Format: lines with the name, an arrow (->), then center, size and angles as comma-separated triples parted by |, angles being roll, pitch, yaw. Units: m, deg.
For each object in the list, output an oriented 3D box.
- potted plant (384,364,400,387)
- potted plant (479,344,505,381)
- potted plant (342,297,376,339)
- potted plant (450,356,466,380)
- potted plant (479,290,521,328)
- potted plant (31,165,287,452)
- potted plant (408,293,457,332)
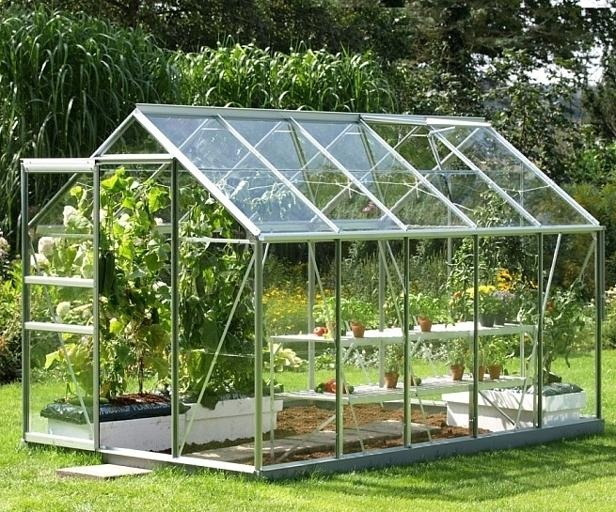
potted plant -> 0.890, 1.298, 11.433 | 0.148, 0.162, 0.166 | 0, -3, 21
potted plant -> 2.014, 1.167, 11.645 | 0.280, 0.417, 0.352 | -4, -5, 31
potted plant -> 0.484, 0.649, 10.959 | 0.359, 0.447, 0.324 | 1, -4, -26
potted plant -> 1.611, 1.218, 11.596 | 0.172, 0.233, 0.194 | 1, -7, -2
potted plant -> 2.060, 0.558, 11.538 | 0.392, 0.486, 0.328 | 1, 2, -3
potted plant -> -1.718, 0.526, 10.794 | 2.459, 2.836, 1.141 | 3, 8, 10
potted plant -> 1.314, 0.592, 11.563 | 0.388, 0.327, 0.407 | 1, -1, 37
